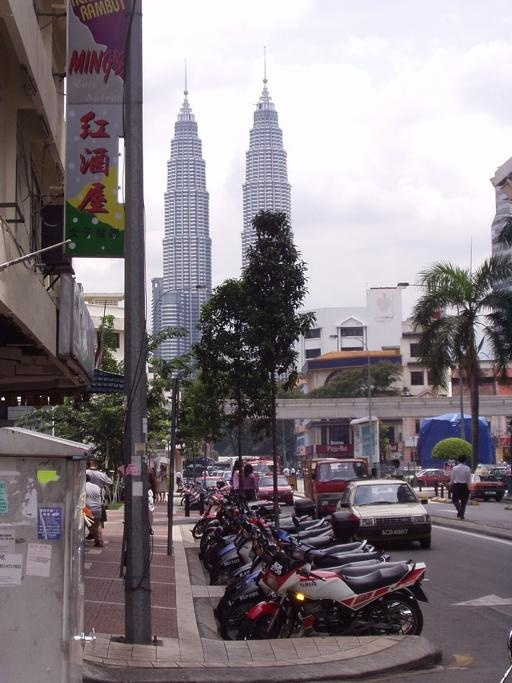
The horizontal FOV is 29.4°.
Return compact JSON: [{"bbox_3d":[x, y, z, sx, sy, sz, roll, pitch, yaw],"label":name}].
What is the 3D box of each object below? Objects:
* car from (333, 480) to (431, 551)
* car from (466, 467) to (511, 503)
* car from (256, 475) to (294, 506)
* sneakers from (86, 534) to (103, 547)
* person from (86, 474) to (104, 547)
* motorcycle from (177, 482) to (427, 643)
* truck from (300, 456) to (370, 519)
[{"bbox_3d":[2.215,3.013,17.154,0.928,1.017,2.121,0,-11,-5],"label":"car"},{"bbox_3d":[9.226,5.745,39.108,1.890,1.281,1.201,4,-6,-43],"label":"car"},{"bbox_3d":[0.720,5.825,38.635,1.107,1.184,3.020,0,-10,-4],"label":"car"},{"bbox_3d":[-2.946,3.611,17.773,0.173,0.279,0.587,2,-8,-23],"label":"sneakers"},{"bbox_3d":[-2.825,2.959,17.030,0.289,1.364,1.958,1,-5,-9],"label":"person"},{"bbox_3d":[0.534,2.099,9.205,1.778,1.467,1.161,-1,-15,5],"label":"motorcycle"},{"bbox_3d":[2.252,4.587,28.465,1.514,2.114,4.441,3,-12,0],"label":"truck"}]
